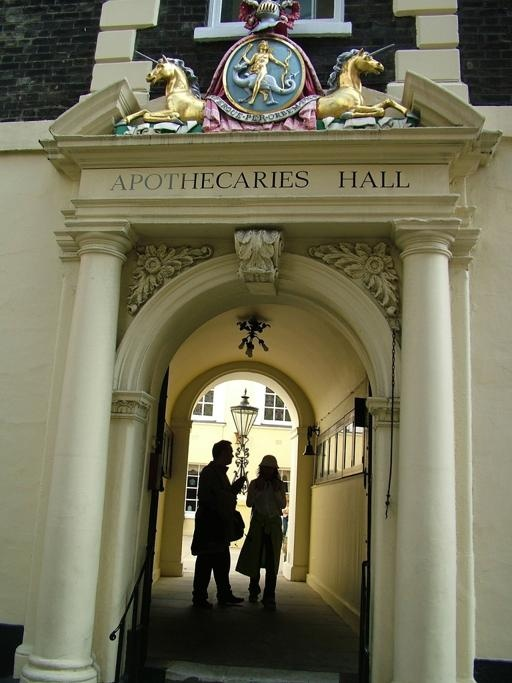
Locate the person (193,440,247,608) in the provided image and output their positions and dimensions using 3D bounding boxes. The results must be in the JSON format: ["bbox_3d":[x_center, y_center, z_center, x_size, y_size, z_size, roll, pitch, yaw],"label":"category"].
[{"bbox_3d":[-0.449,2.248,7.879,0.596,2.035,0.917,3,-12,-1],"label":"person"}]

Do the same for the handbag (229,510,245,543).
[{"bbox_3d":[-0.218,2.236,7.691,0.263,0.362,0.185,-3,-2,41],"label":"handbag"}]

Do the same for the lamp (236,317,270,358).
[{"bbox_3d":[-0.058,-0.093,9.729,0.362,0.531,0.365,6,16,-19],"label":"lamp"}]

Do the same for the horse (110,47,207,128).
[{"bbox_3d":[-0.754,-2.264,5.825,0.890,0.613,0.327,-5,9,-10],"label":"horse"}]

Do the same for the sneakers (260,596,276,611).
[{"bbox_3d":[0.150,3.375,8.248,0.164,0.154,0.088,-3,-7,5],"label":"sneakers"}]

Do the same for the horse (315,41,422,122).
[{"bbox_3d":[0.863,-2.240,5.600,0.883,0.620,0.302,5,15,12],"label":"horse"}]

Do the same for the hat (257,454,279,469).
[{"bbox_3d":[0.169,1.653,8.848,0.204,0.127,0.260,-2,-21,29],"label":"hat"}]

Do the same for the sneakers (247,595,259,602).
[{"bbox_3d":[-0.022,3.481,8.650,0.109,0.107,0.116,28,-36,-22],"label":"sneakers"}]
